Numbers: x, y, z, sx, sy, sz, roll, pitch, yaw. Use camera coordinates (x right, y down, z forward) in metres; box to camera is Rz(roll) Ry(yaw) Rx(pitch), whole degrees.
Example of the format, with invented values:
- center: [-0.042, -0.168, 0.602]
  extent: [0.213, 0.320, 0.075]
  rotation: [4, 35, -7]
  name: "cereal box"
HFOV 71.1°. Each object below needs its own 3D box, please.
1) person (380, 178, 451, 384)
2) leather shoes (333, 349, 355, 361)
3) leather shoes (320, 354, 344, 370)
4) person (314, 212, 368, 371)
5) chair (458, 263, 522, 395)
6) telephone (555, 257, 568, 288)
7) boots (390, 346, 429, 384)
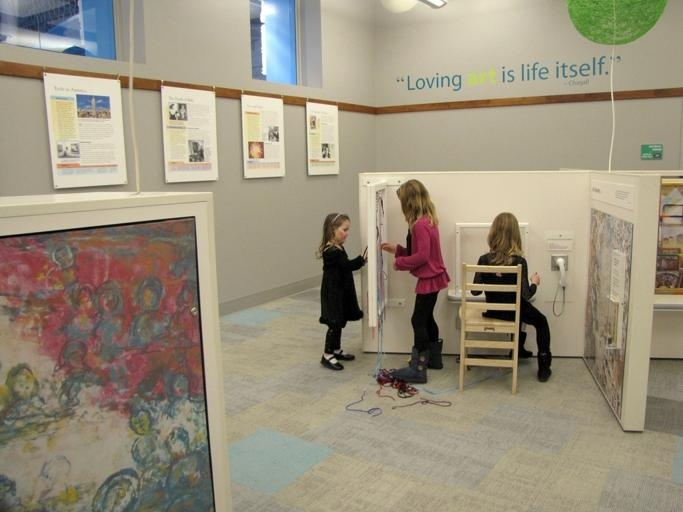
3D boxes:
- center: [0.624, 0.187, 3.935]
  extent: [0.468, 1.605, 0.525]
  rotation: [0, 10, 7]
  name: "person"
- center: [0.016, 0.900, 4.367]
  extent: [0.218, 0.095, 0.077]
  rotation: [0, 2, -6]
  name: "leather shoes"
- center: [-0.073, 0.923, 4.210]
  extent: [0.156, 0.073, 0.105]
  rotation: [8, 9, 31]
  name: "leather shoes"
- center: [0.009, 0.299, 4.217]
  extent: [0.428, 1.324, 0.382]
  rotation: [-2, 10, -3]
  name: "person"
- center: [1.211, 0.604, 3.856]
  extent: [0.488, 0.956, 0.555]
  rotation: [-2, -20, 29]
  name: "chair"
- center: [1.874, 0.146, 4.086]
  extent: [0.096, 0.273, 0.097]
  rotation: [1, 11, 17]
  name: "telephone"
- center: [0.581, 0.885, 3.956]
  extent: [0.349, 0.369, 0.180]
  rotation: [4, 5, 13]
  name: "boots"
